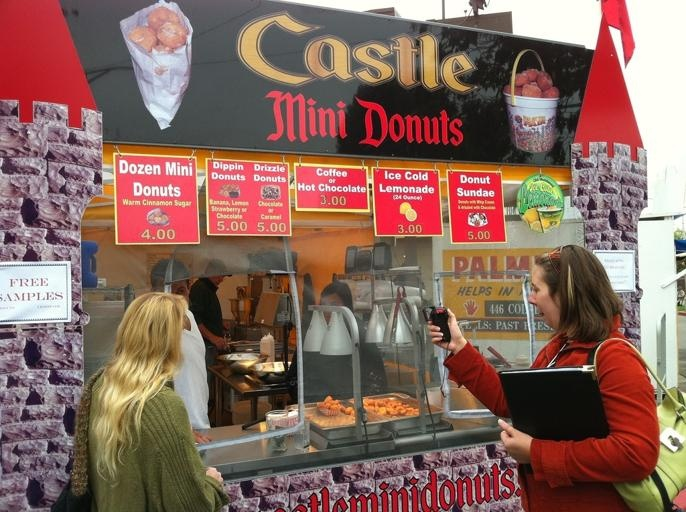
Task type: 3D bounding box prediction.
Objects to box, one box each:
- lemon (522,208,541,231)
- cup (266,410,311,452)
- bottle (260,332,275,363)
[{"bbox_3d":[1.571,-0.300,5.340,0.167,0.181,0.124,-3,-3,7],"label":"lemon"},{"bbox_3d":[-0.403,1.197,4.371,0.335,0.278,0.186,2,-5,-28],"label":"cup"},{"bbox_3d":[-0.613,0.752,5.186,0.117,0.192,0.321,-2,-3,-7],"label":"bottle"}]
